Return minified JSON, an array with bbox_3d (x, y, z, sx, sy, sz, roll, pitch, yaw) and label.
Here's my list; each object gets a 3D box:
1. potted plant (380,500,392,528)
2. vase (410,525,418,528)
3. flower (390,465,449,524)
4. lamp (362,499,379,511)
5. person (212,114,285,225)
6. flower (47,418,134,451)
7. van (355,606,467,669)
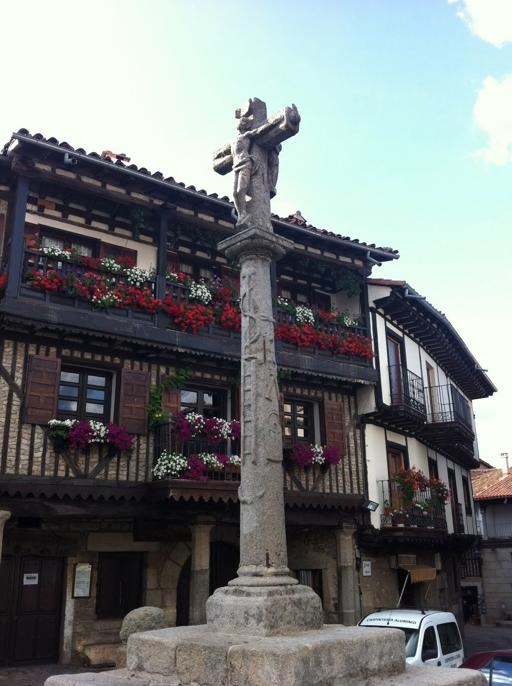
[{"bbox_3d":[3.055,4.066,15.434,0.283,0.500,0.346,13,-7,-7],"label":"potted plant"},{"bbox_3d":[3.731,4.359,15.438,0.139,0.045,0.580,8,-7,20],"label":"vase"},{"bbox_3d":[3.929,3.887,16.218,1.299,0.659,1.768,10,-29,-5],"label":"flower"},{"bbox_3d":[2.584,3.710,14.891,0.222,0.218,0.396,11,-5,15],"label":"lamp"},{"bbox_3d":[-0.140,-1.579,5.902,0.337,1.129,0.828,15,-8,-19],"label":"person"},{"bbox_3d":[-2.886,1.630,11.199,0.963,0.345,0.648,16,10,-35],"label":"flower"},{"bbox_3d":[2.372,4.437,9.752,1.239,0.695,2.045,7,-8,25],"label":"van"}]
